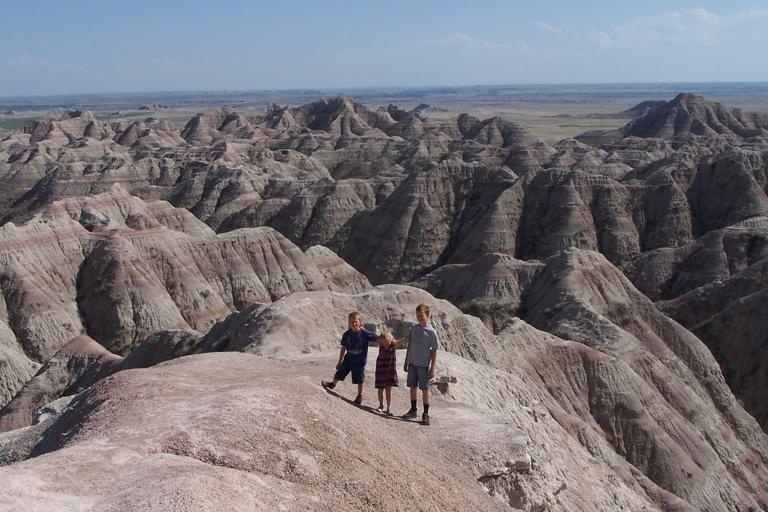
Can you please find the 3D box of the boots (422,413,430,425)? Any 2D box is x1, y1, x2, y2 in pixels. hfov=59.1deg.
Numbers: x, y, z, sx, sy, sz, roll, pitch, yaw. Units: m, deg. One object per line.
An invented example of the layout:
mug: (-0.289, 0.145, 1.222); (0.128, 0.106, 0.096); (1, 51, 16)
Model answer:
boots: (1.463, 5.714, 23.636); (0.314, 0.269, 0.703); (-1, -11, 0)

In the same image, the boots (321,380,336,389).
boots: (-1.955, 4.573, 23.972); (0.464, 0.173, 0.230); (17, 3, -12)

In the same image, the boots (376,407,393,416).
boots: (0.029, 5.432, 23.611); (0.502, 0.173, 0.246); (10, -8, -10)

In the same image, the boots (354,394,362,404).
boots: (-0.886, 5.007, 23.597); (0.277, 0.349, 0.368); (7, 10, -3)

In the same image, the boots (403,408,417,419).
boots: (0.955, 5.568, 23.803); (0.622, 0.346, 0.253); (-3, 1, 7)
